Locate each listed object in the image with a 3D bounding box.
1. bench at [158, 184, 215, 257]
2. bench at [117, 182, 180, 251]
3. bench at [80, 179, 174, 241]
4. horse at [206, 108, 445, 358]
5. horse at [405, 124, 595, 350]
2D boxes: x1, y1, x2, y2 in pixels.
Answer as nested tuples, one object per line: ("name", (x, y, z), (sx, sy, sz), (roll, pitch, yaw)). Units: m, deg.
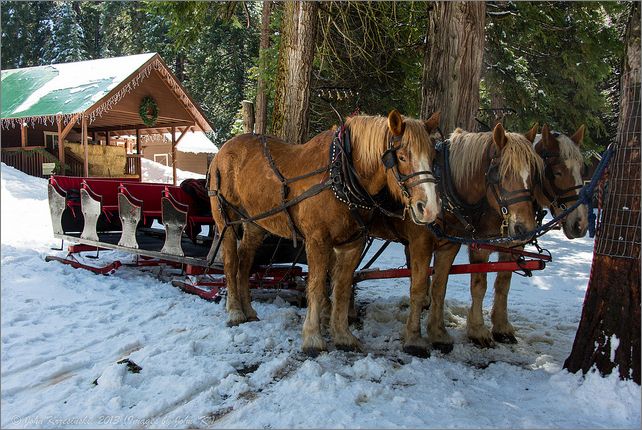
("bench", (-2.534, 0.150, 10.621), (0.706, 1.193, 0.836), (6, 0, 27))
("bench", (-3.421, 0.046, 11.219), (0.474, 1.110, 1.283), (3, 1, -5))
("bench", (-3.993, -0.073, 11.576), (0.462, 0.859, 1.210), (-1, -1, 44))
("horse", (-0.165, 0.227, 9.173), (4.381, 3.753, 1.325), (4, 6, 39))
("horse", (2.645, 0.563, 9.465), (1.096, 3.346, 3.891), (8, -7, -26))
